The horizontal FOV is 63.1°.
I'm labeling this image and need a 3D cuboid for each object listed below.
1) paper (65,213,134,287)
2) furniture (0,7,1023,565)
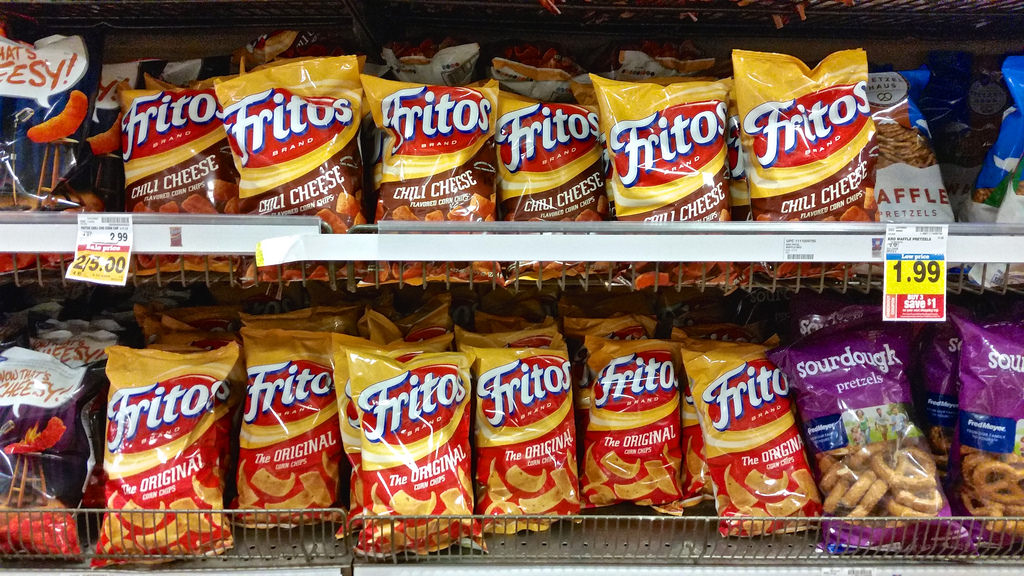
[{"bbox_3d":[-1.045,-0.106,2.119,0.187,0.198,0.027,5,7,0],"label":"paper"},{"bbox_3d":[-0.252,-0.002,2.722,3.013,1.675,0.682,-1,-23,-1],"label":"furniture"}]
